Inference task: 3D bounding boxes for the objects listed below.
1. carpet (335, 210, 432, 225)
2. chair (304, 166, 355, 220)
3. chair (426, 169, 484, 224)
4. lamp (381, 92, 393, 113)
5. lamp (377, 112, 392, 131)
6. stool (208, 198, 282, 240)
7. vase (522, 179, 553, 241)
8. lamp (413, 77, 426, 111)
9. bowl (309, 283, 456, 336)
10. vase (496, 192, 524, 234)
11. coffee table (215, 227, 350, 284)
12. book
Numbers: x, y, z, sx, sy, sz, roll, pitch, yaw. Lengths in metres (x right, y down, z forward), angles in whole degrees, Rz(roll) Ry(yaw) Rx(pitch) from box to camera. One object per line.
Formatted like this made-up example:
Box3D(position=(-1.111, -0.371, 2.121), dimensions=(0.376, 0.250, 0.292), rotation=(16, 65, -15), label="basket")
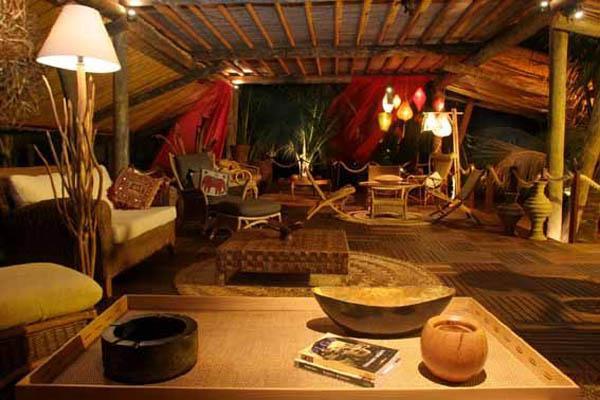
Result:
Box3D(position=(1.406, 0.289, 6.668), dimensions=(1.560, 0.080, 1.143), rotation=(2, 9, 12), label="carpet")
Box3D(position=(0.538, -0.109, 7.139), dimensions=(1.399, 0.960, 0.806), rotation=(0, 9, -1), label="chair")
Box3D(position=(2.679, -0.118, 6.807), dimensions=(0.820, 0.915, 1.452), rotation=(3, 10, 17), label="chair")
Box3D(position=(2.004, -2.223, 8.894), dimensions=(0.217, 0.402, 0.473), rotation=(3, 10, 12), label="lamp")
Box3D(position=(2.026, -1.891, 9.378), dimensions=(0.327, 0.446, 0.302), rotation=(2, 11, 7), label="lamp")
Box3D(position=(-0.692, 0.219, 5.300), dimensions=(0.673, 0.420, 0.798), rotation=(5, 4, 43), label="stool")
Box3D(position=(3.229, 0.138, 5.268), dimensions=(0.346, 0.783, 0.286), rotation=(-5, 13, -25), label="vase")
Box3D(position=(2.875, -2.538, 9.460), dimensions=(0.298, 0.716, 0.745), rotation=(3, 11, 14), label="lamp")
Box3D(position=(0.420, 0.535, 1.969), dimensions=(0.711, 0.208, 0.360), rotation=(1, 9, 2), label="bowl")
Box3D(position=(3.003, 0.183, 5.592), dimensions=(0.324, 0.581, 0.441), rotation=(5, 12, 25), label="vase")
Box3D(position=(-0.136, 0.561, 3.717), dimensions=(1.173, 0.428, 0.683), rotation=(1, 10, 5), label="coffee table")
Box3D(position=(0.199, 0.682, 1.689), dimensions=(0.403, 0.083, 0.221), rotation=(5, 10, 28), label="book")
